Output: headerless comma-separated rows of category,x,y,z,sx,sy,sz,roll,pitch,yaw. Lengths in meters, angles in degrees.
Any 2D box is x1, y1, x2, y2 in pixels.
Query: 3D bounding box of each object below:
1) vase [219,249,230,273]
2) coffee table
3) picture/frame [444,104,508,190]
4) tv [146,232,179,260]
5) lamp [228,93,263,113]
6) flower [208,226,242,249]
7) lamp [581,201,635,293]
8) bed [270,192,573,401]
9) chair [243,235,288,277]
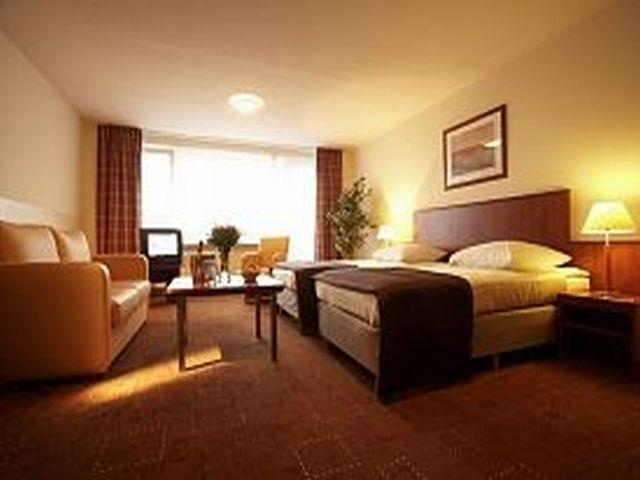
vase,-0.867,0.182,4.087,0.072,0.220,0.247,-2,3,-11
coffee table,-0.858,0.616,4.121,0.884,0.651,1.367,-2,3,-13
picture/frame,1.683,-1.000,4.805,0.047,0.850,0.953,0,-3,-24
tv,-2.116,0.051,6.063,0.471,0.438,0.257,1,-1,-25
lamp,-0.884,-1.615,5.368,0.417,0.116,0.610,-2,3,-8
flower,-0.831,-0.029,3.934,0.214,0.184,0.219,1,-1,-13
lamp,2.313,0.040,3.618,0.350,0.725,0.361,1,4,36
bed,1.020,0.283,4.104,2.099,1.415,1.647,-3,3,-23
chair,-0.665,0.213,6.161,0.455,0.638,0.499,-2,-9,26
